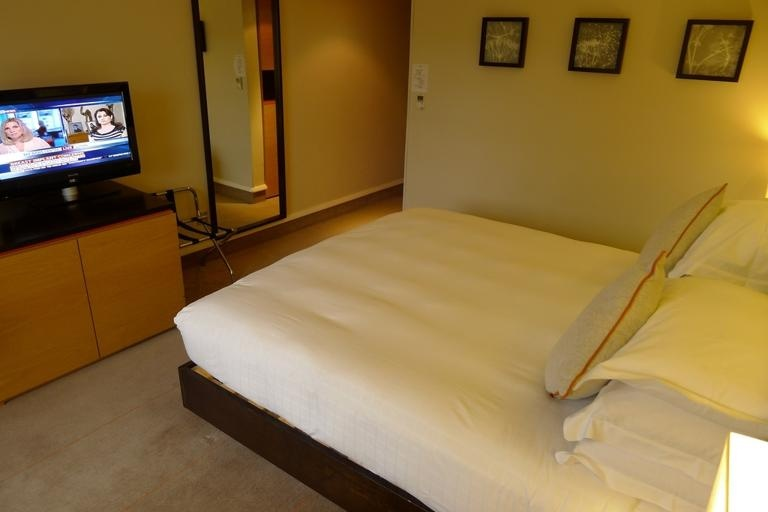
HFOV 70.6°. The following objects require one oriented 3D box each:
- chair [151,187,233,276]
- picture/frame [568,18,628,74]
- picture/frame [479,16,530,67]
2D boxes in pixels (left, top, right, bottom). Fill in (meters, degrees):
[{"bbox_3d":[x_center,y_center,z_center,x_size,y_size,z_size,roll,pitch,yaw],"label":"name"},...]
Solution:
[{"bbox_3d":[-1.528,-0.197,4.278,0.400,0.575,0.402,22,41,23],"label":"chair"},{"bbox_3d":[1.582,-1.541,3.969,0.362,0.382,0.036,16,28,26],"label":"picture/frame"},{"bbox_3d":[0.962,-1.694,4.272,0.354,0.381,0.051,13,27,28],"label":"picture/frame"}]
